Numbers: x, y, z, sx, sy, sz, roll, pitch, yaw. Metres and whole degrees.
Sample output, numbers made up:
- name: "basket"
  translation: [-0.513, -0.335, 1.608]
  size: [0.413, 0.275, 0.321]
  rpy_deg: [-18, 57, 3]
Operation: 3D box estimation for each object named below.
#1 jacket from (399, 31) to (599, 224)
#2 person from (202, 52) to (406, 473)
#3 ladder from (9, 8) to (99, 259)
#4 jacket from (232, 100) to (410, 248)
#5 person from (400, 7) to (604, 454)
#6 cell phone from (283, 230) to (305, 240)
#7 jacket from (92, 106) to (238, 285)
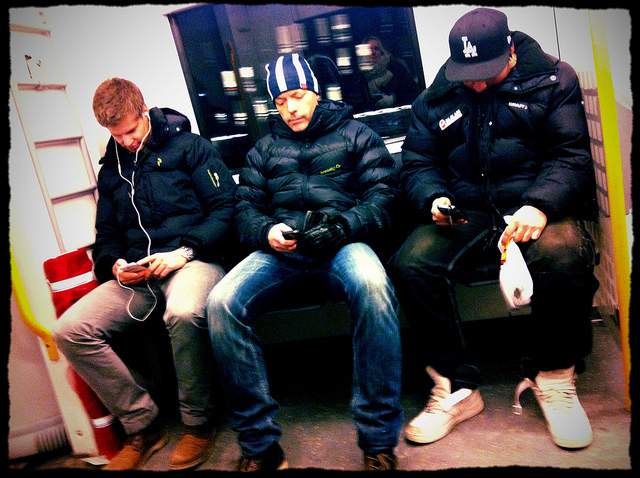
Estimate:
- name: "jacket"
  translation: [0.885, -0.531, 2.405]
  size: [0.980, 0.892, 0.653]
  rpy_deg: [6, 26, 40]
- name: "person"
  translation: [-0.074, 0.011, 2.268]
  size: [0.880, 1.817, 1.092]
  rpy_deg: [-8, 15, 13]
- name: "ladder"
  translation: [-1.454, -0.570, 2.528]
  size: [0.052, 1.290, 0.422]
  rpy_deg: [-6, 16, 22]
- name: "jacket"
  translation: [-0.015, -0.351, 2.630]
  size: [1.080, 0.730, 0.631]
  rpy_deg: [3, 16, 34]
- name: "person"
  translation: [0.783, -0.113, 2.155]
  size: [0.850, 1.839, 0.884]
  rpy_deg: [-4, 17, 28]
- name: "cell phone"
  translation: [-0.122, -0.017, 2.191]
  size: [0.141, 0.043, 0.046]
  rpy_deg: [3, 19, 41]
- name: "jacket"
  translation: [-0.903, -0.263, 2.572]
  size: [0.862, 0.879, 0.532]
  rpy_deg: [-13, 15, -8]
